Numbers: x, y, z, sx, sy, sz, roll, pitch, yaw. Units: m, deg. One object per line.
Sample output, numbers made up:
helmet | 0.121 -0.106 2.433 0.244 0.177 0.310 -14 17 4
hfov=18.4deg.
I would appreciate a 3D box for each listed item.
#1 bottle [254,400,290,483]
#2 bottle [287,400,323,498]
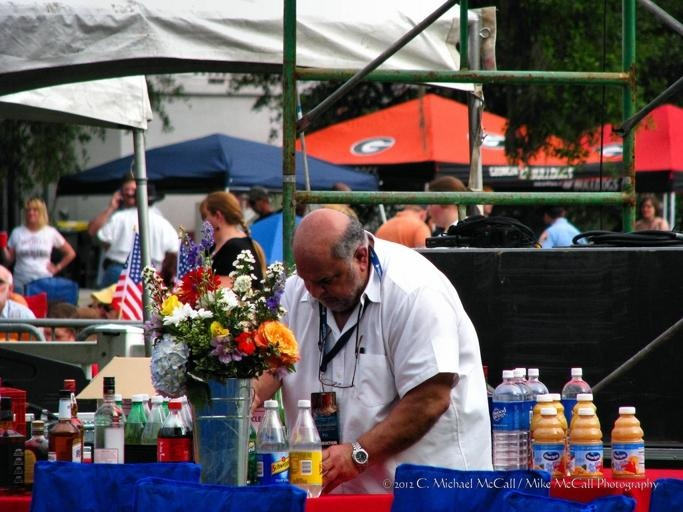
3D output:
bottle | -0.512 1.385 15.416 0.222 0.627 0.213 -1 7 0
bottle | -0.282 1.424 15.308 0.217 0.692 0.103 -1 -7 -17
